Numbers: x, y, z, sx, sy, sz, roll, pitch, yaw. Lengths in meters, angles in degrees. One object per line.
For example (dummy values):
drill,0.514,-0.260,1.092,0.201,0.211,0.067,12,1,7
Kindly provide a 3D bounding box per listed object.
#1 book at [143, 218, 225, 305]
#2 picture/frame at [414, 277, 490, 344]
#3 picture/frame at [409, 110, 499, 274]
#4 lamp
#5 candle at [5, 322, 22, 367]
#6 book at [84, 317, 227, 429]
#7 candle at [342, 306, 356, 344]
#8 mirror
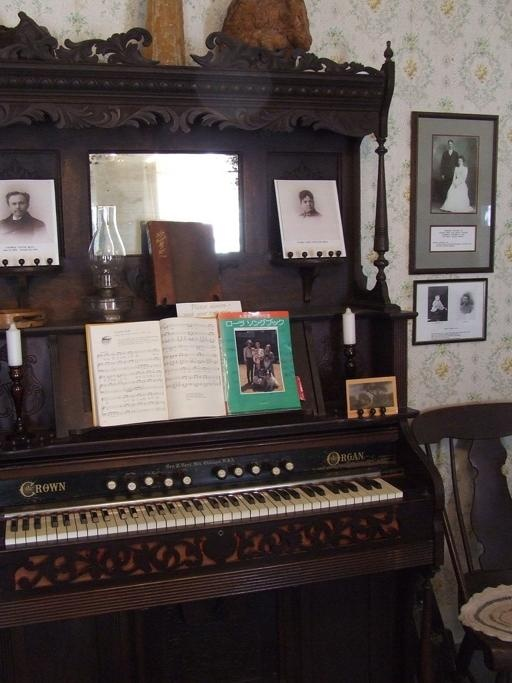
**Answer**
book,-0.212,-0.240,1.895,0.207,0.247,0.092,-7,6,-16
picture/frame,0.745,-0.115,2.424,0.009,0.239,0.348,3,-1,-32
picture/frame,0.730,-0.546,2.351,0.384,0.585,0.050,-7,6,-18
lamp,-0.435,-0.229,1.843,0.118,0.341,0.175,-6,6,-10
candle,-0.636,0.008,1.670,0.039,0.120,0.149,-8,6,-21
book,-0.280,0.093,1.719,0.427,0.281,0.056,-2,-4,-17
candle,0.281,-0.046,1.914,0.036,0.113,0.064,-5,6,7
mirror,-0.292,-0.418,1.915,0.424,0.270,0.015,-1,-1,-22
